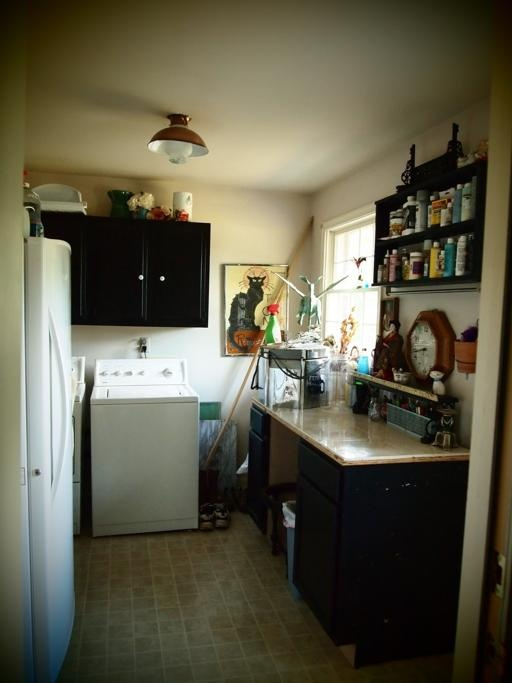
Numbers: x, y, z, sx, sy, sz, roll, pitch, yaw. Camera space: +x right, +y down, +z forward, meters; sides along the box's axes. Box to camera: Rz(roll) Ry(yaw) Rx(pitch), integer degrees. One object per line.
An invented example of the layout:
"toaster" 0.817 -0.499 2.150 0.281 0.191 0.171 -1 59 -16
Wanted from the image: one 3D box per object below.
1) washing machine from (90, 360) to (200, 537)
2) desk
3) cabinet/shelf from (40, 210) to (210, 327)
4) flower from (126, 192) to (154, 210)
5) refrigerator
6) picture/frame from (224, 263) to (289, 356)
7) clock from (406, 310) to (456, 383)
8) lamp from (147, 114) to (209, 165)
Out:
"washing machine" -0.680 0.645 3.241 0.628 0.984 0.614 2 -1 -18
"desk" 0.352 0.744 2.482 0.513 0.802 1.193 3 5 -16
"cabinet/shelf" -0.842 -0.455 3.643 1.069 0.825 0.623 0 0 -17
"flower" -0.746 -0.909 3.476 0.144 0.124 0.060 -22 -5 -16
"refrigerator" -0.667 0.376 1.723 0.164 1.463 0.507 2 -1 -19
"picture/frame" -0.021 -0.227 3.824 0.606 0.954 0.033 0 0 -16
"clock" 0.759 0.032 2.356 0.054 0.346 0.317 -1 5 -18
"lamp" -0.319 -0.821 2.154 0.215 0.186 0.221 2 0 17
